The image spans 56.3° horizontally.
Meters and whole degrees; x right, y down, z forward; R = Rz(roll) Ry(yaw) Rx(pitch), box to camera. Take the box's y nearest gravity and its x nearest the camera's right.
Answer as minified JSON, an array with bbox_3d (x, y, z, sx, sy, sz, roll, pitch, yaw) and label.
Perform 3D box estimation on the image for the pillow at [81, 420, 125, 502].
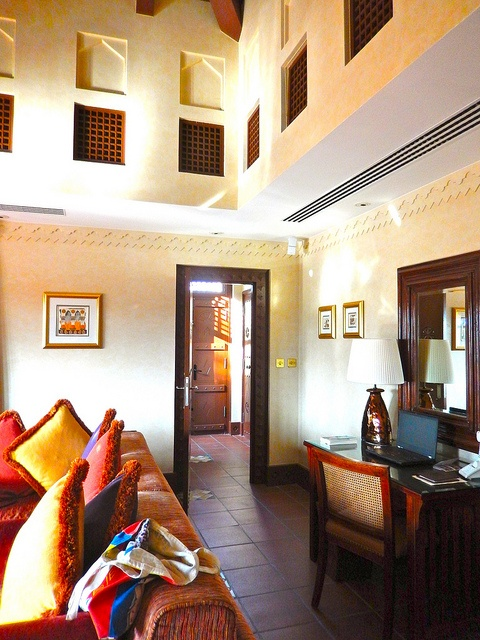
[{"bbox_3d":[-0.499,0.510,1.562,0.054,0.202,0.195,19,37,-17],"label":"pillow"}]

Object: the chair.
[{"bbox_3d":[0.623,1.006,2.657,0.631,1.379,0.550,-3,3,-38],"label":"chair"}]

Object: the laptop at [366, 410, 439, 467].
[{"bbox_3d":[1.014,0.725,2.695,0.212,0.335,0.363,5,2,-23],"label":"laptop"}]

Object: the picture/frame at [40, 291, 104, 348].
[{"bbox_3d":[-1.662,-0.009,4.349,0.347,0.557,0.029,1,-3,-28],"label":"picture/frame"}]

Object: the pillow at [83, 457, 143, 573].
[{"bbox_3d":[-0.333,0.526,1.268,0.055,0.246,0.196,18,-48,-16],"label":"pillow"}]

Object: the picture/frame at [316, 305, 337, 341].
[{"bbox_3d":[0.873,0.029,4.532,0.050,0.334,0.392,-1,-3,-11],"label":"picture/frame"}]
